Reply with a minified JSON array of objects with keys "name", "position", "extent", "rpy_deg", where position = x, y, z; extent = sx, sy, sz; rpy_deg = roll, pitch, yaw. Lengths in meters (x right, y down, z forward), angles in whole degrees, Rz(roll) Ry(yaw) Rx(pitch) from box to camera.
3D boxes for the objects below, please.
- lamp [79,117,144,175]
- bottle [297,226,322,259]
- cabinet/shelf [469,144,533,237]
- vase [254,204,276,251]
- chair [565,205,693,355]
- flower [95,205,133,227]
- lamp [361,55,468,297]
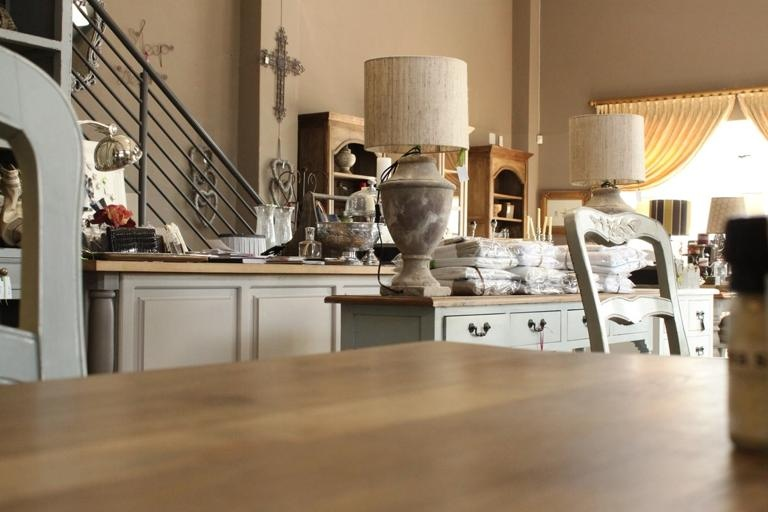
[{"name":"lamp","position":[-1.094,-0.432,2.556],"extent":[0.301,0.231,0.189],"rpy_deg":[-5,7,-8]},{"name":"bottle","position":[-0.399,-0.076,3.553],"extent":[0.115,0.162,0.375],"rpy_deg":[0,3,-7]},{"name":"cabinet/shelf","position":[1.406,-0.799,8.259],"extent":[0.519,1.096,1.107],"rpy_deg":[3,4,32]},{"name":"vase","position":[-0.651,-0.161,3.663],"extent":[0.104,0.243,0.190],"rpy_deg":[0,3,-10]},{"name":"chair","position":[0.562,0.059,1.541],"extent":[0.198,0.345,0.474],"rpy_deg":[4,4,42]},{"name":"flower","position":[-1.116,-0.170,2.767],"extent":[0.118,0.062,0.109],"rpy_deg":[-9,42,-39]},{"name":"lamp","position":[0.109,-0.289,2.374],"extent":[0.370,0.837,0.300],"rpy_deg":[1,3,5]}]
